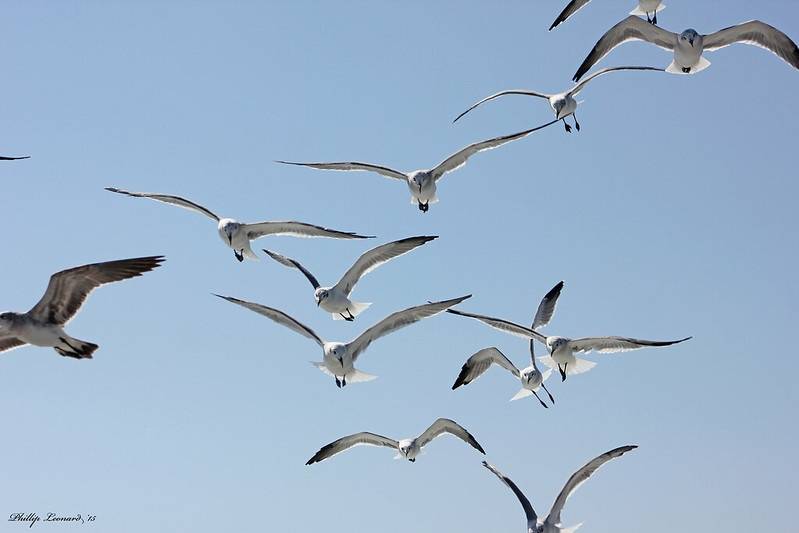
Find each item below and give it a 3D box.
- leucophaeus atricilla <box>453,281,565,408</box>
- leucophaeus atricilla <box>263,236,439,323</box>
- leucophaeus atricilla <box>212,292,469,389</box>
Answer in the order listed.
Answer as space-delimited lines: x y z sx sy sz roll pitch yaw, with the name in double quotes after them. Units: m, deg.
1.911 1.485 22.676 2.441 1.319 1.208 -27 -23 2 "leucophaeus atricilla"
-1.259 0.396 27.478 4.006 1.644 1.791 -5 -9 31 "leucophaeus atricilla"
-1.088 1.496 26.199 4.594 1.594 2.043 3 -1 -19 "leucophaeus atricilla"
